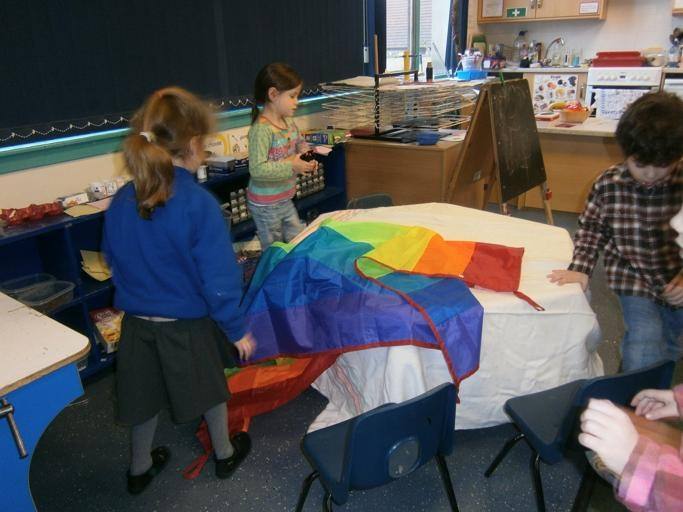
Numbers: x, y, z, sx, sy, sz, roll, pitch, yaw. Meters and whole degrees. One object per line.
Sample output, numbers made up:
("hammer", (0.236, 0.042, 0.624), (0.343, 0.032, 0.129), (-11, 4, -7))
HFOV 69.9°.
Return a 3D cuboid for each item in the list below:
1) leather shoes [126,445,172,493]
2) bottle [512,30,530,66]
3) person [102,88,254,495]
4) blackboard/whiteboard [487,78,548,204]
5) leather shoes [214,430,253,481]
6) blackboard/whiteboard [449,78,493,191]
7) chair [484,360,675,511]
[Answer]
("leather shoes", (-0.830, 0.927, 2.115), (0.073, 0.083, 0.207), (10, 32, 6))
("bottle", (2.415, -2.859, 6.549), (0.157, 0.420, 0.143), (-9, 58, 15))
("person", (-0.678, 0.198, 1.901), (0.586, 1.576, 0.439), (-11, 25, -19))
("blackboard/whiteboard", (1.259, -0.782, 3.460), (0.330, 0.880, 0.814), (14, 29, 33))
("leather shoes", (-0.516, 0.907, 2.197), (0.089, 0.085, 0.224), (4, 1, -8))
("blackboard/whiteboard", (0.995, -0.874, 3.641), (0.262, 0.649, 0.842), (8, 5, 10))
("chair", (0.782, 0.599, 1.638), (0.390, 0.732, 0.413), (-16, 53, -3))
